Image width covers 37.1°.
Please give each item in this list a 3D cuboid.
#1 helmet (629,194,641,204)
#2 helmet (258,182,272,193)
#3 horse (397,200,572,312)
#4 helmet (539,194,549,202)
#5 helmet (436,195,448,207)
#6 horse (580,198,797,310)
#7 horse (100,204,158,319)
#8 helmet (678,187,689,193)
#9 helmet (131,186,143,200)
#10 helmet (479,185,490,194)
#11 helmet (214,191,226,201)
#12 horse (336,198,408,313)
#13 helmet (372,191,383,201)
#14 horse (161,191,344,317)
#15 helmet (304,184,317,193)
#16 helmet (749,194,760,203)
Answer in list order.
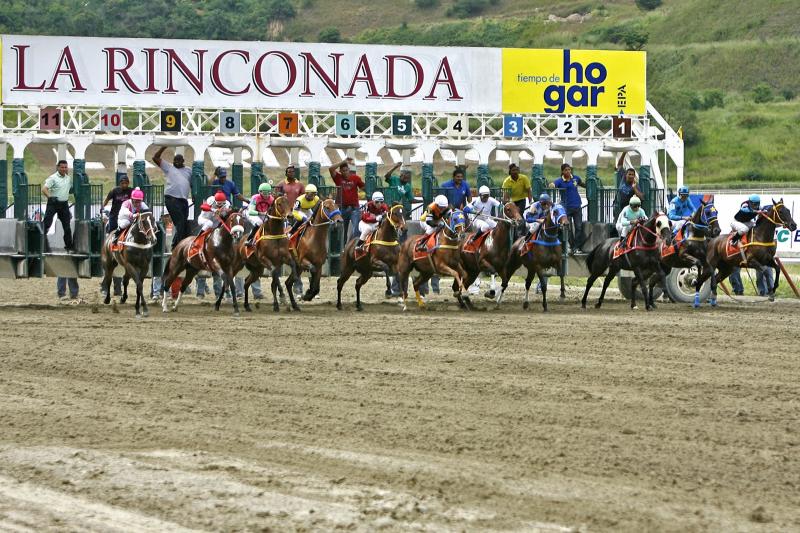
[{"bbox_3d":[4.786,-1.364,24.187,0.162,0.207,0.222,-2,-24,-9],"label":"helmet"},{"bbox_3d":[-2.660,-1.579,23.694,0.178,0.207,0.238,-3,-2,-13],"label":"helmet"},{"bbox_3d":[1.106,-0.266,23.713,2.256,2.184,1.386,0,0,2],"label":"horse"},{"bbox_3d":[2.864,-1.371,23.561,0.144,0.113,0.224,1,6,7],"label":"helmet"},{"bbox_3d":[0.824,-1.307,23.518,0.249,0.247,0.359,0,0,3],"label":"helmet"},{"bbox_3d":[6.230,-0.343,24.411,3.418,2.266,1.964,0,0,10],"label":"horse"},{"bbox_3d":[-5.240,-0.077,23.041,0.898,1.967,2.302,0,0,-22],"label":"horse"},{"bbox_3d":[5.968,-1.633,25.192,0.158,0.092,0.231,0,1,-5],"label":"helmet"},{"bbox_3d":[-5.014,-1.405,22.842,0.180,0.188,0.278,2,1,-21],"label":"helmet"},{"bbox_3d":[1.736,-1.583,24.420,0.200,0.195,0.409,0,0,2],"label":"helmet"},{"bbox_3d":[-3.458,-1.371,23.009,0.196,0.209,0.328,0,0,-8],"label":"helmet"},{"bbox_3d":[-0.498,-0.140,24.066,0.760,2.045,3.116,3,-8,-24],"label":"horse"},{"bbox_3d":[-0.413,-1.414,23.839,0.165,0.191,0.211,-1,-25,-31],"label":"helmet"},{"bbox_3d":[-2.993,-0.247,23.237,3.204,2.224,1.438,0,0,-8],"label":"horse"},{"bbox_3d":[-1.787,-1.595,23.948,0.170,0.149,0.245,-1,-14,-22],"label":"helmet"},{"bbox_3d":[7.331,-1.451,24.720,0.231,0.212,0.189,-4,-1,33],"label":"helmet"}]
